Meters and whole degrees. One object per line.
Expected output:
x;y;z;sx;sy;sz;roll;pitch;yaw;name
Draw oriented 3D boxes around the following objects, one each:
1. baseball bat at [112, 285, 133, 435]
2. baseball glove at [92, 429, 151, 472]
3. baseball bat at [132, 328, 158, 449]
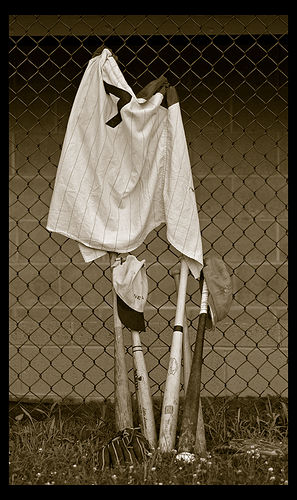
-0.095;0.378;2.996;0.052;0.455;0.159;-1;11;-26;baseball bat
-0.090;0.664;2.899;0.157;0.072;0.116;-12;-1;32;baseball glove
-0.007;0.468;3.001;0.050;0.410;0.046;-2;-6;-44;baseball bat
